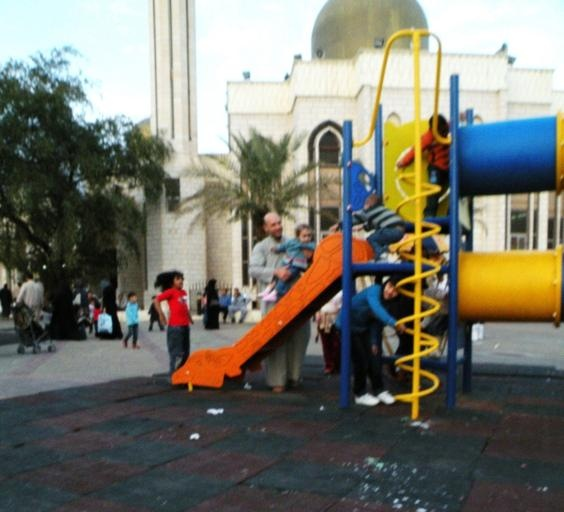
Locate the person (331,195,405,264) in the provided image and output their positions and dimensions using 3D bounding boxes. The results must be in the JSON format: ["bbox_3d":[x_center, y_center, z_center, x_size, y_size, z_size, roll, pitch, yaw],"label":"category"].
[{"bbox_3d":[1.185,-0.378,10.930,0.678,0.849,0.476,2,8,24],"label":"person"}]

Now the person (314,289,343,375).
[{"bbox_3d":[0.664,1.175,13.108,0.356,1.295,0.382,-4,7,-44],"label":"person"}]
